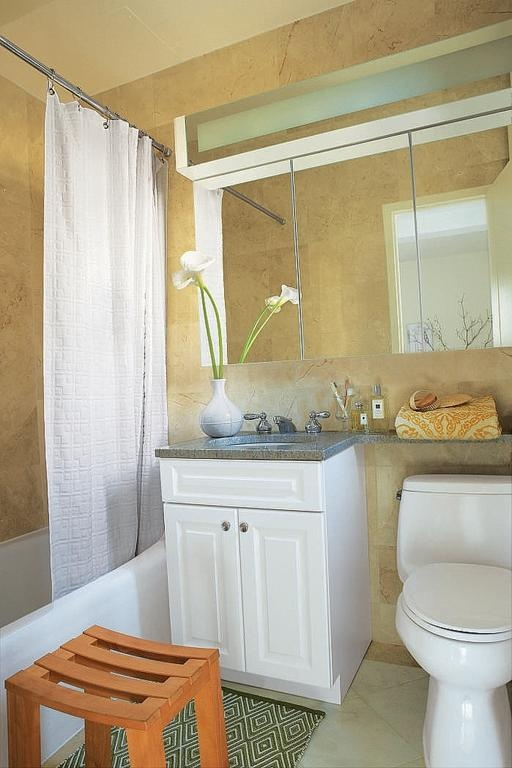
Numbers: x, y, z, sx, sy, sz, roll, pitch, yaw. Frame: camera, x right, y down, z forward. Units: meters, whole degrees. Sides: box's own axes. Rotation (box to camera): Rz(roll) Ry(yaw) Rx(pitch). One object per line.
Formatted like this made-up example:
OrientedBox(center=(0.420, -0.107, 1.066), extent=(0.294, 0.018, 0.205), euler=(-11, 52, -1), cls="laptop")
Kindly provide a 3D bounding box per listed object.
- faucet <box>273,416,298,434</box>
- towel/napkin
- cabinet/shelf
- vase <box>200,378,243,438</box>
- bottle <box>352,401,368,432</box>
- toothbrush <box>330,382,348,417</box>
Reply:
OrientedBox(center=(0.104, 0.144, 2.099), extent=(0.033, 0.049, 0.128), euler=(-6, -15, 22), cls="faucet")
OrientedBox(center=(0.585, 0.101, 1.813), extent=(0.288, 0.102, 0.228), euler=(0, 8, 23), cls="towel/napkin")
OrientedBox(center=(0.047, 0.551, 1.976), extent=(0.653, 0.768, 0.637), euler=(1, 7, 42), cls="cabinet/shelf")
OrientedBox(center=(-0.127, 0.088, 2.091), extent=(0.125, 0.203, 0.107), euler=(2, 8, 36), cls="vase")
OrientedBox(center=(0.354, 0.107, 2.035), extent=(0.056, 0.093, 0.103), euler=(-2, 7, 10), cls="bottle")
OrientedBox(center=(0.284, 0.057, 2.064), extent=(0.024, 0.172, 0.029), euler=(-5, -33, -10), cls="toothbrush")
